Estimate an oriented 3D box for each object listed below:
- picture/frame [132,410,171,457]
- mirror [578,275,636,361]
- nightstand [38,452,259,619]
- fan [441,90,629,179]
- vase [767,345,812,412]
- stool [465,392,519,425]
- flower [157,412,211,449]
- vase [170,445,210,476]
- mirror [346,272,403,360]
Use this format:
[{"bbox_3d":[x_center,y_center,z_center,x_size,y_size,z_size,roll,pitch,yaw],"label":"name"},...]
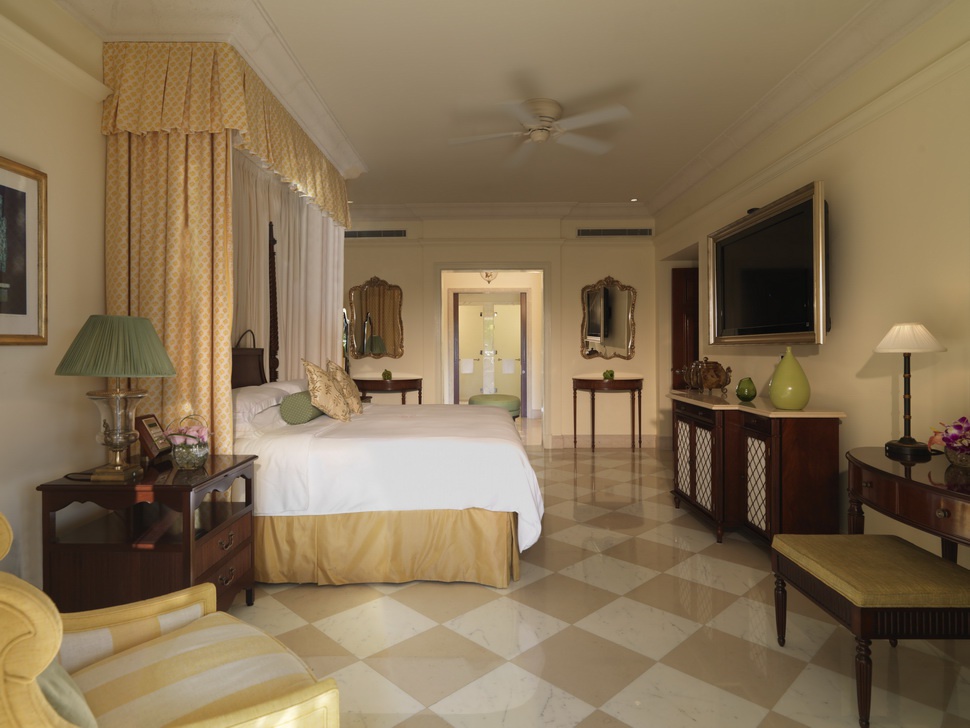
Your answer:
[{"bbox_3d":[-1.947,0.419,4.149,0.053,0.246,0.239,-21,-4,1],"label":"picture/frame"},{"bbox_3d":[1.454,-0.603,8.547,0.921,1.353,0.067,1,7,2],"label":"mirror"},{"bbox_3d":[-1.838,0.765,4.029,0.753,0.948,0.992,-1,1,1],"label":"nightstand"},{"bbox_3d":[0.450,-1.961,5.911,1.376,0.337,1.078,-1,12,-5],"label":"fan"},{"bbox_3d":[2.094,0.098,4.920,0.359,0.436,0.355,-6,6,-41],"label":"vase"},{"bbox_3d":[0.186,0.572,9.586,0.452,0.300,0.468,-2,-4,31],"label":"stool"},{"bbox_3d":[-1.727,0.390,4.115,0.206,0.130,0.262,10,-3,-30],"label":"flower"},{"bbox_3d":[-1.647,0.528,3.956,0.151,0.123,0.159,0,1,13],"label":"vase"},{"bbox_3d":[-1.366,-0.633,8.626,0.955,1.460,0.072,1,7,1],"label":"mirror"}]
